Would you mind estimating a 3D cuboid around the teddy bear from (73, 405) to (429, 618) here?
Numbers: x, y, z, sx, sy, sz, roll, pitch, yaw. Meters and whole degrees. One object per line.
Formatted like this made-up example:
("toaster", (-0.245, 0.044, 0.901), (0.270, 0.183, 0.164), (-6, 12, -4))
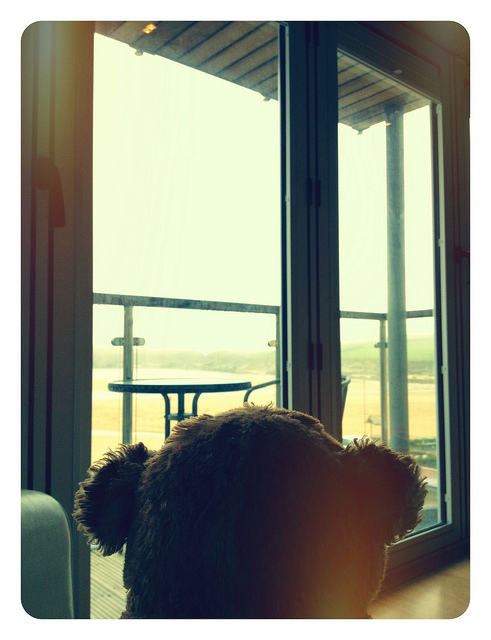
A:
("teddy bear", (0.009, 0.303, 1.078), (0.546, 0.326, 0.205), (3, -6, -16))
